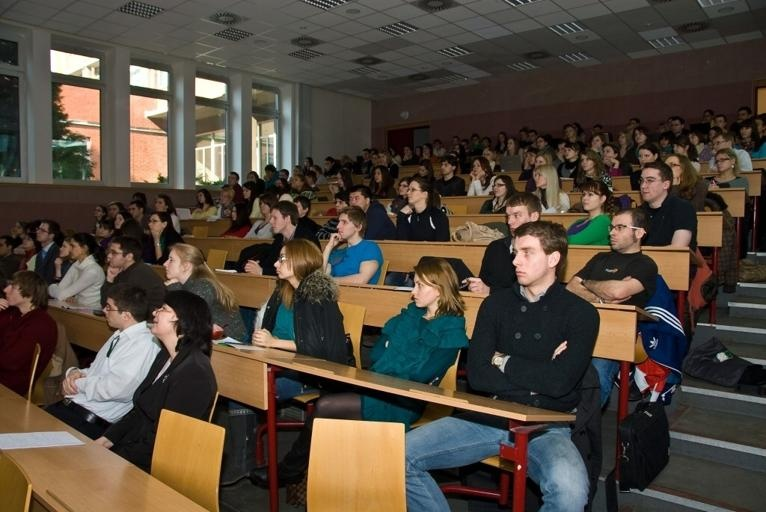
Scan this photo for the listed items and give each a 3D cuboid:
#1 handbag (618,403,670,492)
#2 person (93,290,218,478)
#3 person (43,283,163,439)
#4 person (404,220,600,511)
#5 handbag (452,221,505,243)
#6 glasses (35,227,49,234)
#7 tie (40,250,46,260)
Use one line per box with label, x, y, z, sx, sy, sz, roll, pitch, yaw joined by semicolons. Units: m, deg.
handbag;1.644;1.232;3.253;0.178;0.378;0.492;-3;15;43
person;-1.345;0.779;3.273;0.825;1.081;0.483;-2;7;16
person;-2.055;0.670;4.166;1.100;1.367;0.936;2;7;-31
person;0.698;0.633;2.939;1.087;1.605;0.815;-2;7;10
handbag;0.957;-0.235;5.298;0.292;0.125;0.351;1;5;-25
glasses;-4.840;-0.368;7.297;0.121;0.055;0.123;-2;6;-18
tie;-4.870;-0.022;7.355;0.101;0.098;0.025;9;-8;20
